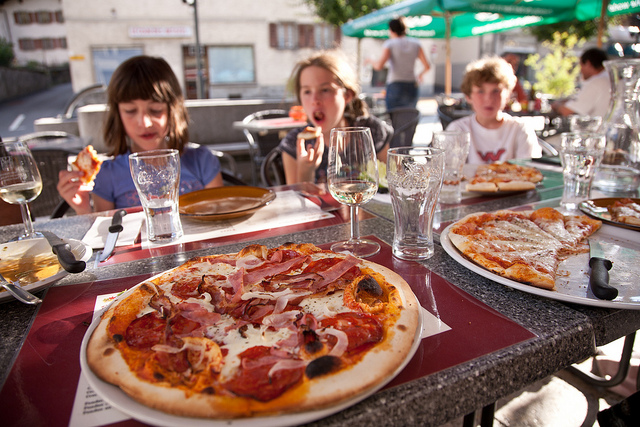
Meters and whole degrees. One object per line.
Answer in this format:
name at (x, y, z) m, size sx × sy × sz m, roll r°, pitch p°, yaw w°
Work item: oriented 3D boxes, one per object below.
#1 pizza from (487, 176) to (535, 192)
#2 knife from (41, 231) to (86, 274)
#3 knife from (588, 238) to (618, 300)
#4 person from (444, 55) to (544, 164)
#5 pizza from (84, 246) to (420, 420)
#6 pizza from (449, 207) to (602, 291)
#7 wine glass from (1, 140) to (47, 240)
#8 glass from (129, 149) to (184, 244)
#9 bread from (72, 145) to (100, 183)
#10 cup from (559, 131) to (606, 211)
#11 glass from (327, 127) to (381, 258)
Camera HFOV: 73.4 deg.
pizza at (0.777, -0.118, 1.735) m, size 0.095 × 0.023 × 0.097 m, roll -2°, pitch 17°, yaw -3°
knife at (-0.744, 0.118, 1.241) m, size 0.072 × 0.044 × 0.443 m, roll -3°, pitch 13°, yaw -38°
knife at (0.740, 0.130, 1.135) m, size 0.052 × 0.039 × 0.315 m, roll 6°, pitch 26°, yaw 26°
person at (1.229, -0.753, 3.026) m, size 0.637 × 0.690 × 0.850 m, roll -3°, pitch 17°, yaw 4°
pizza at (-0.143, 0.234, 0.996) m, size 0.728 × 0.185 × 0.450 m, roll -5°, pitch 16°, yaw -6°
pizza at (0.591, 0.074, 1.267) m, size 0.496 × 0.068 × 0.357 m, roll -22°, pitch 26°, yaw -40°
wine glass at (-1.007, -0.076, 1.448) m, size 0.121 × 0.316 × 0.294 m, roll -14°, pitch 20°, yaw -30°
glass at (-0.555, -0.057, 1.440) m, size 0.170 × 0.285 × 0.175 m, roll -3°, pitch 18°, yaw 2°
bread at (-0.941, -0.194, 1.728) m, size 0.101 × 0.146 × 0.048 m, roll -12°, pitch 20°, yaw -26°
cup at (0.935, -0.154, 1.553) m, size 0.139 × 0.247 × 0.195 m, roll 7°, pitch 20°, yaw 30°
glass at (0.107, -0.080, 1.344) m, size 0.152 × 0.363 × 0.314 m, roll -2°, pitch 17°, yaw 7°
